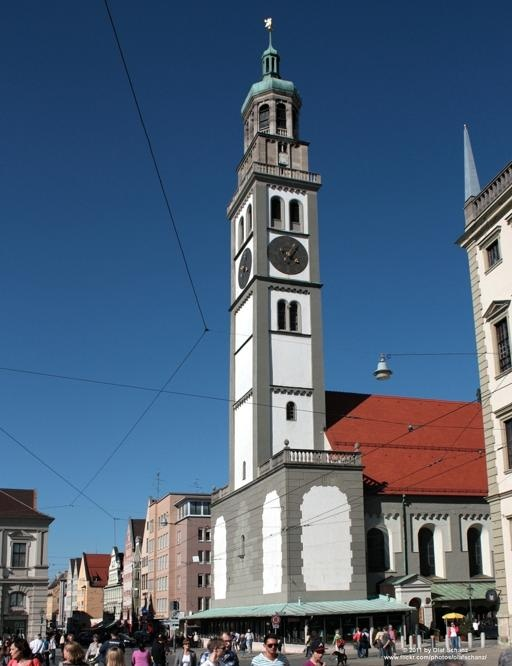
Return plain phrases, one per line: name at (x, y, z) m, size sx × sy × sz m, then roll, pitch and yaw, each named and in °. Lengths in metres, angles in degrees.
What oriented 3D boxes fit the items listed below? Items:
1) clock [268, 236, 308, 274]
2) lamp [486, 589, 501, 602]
clock at (1.720, -4.417, 55.924) m, size 2.389 × 2.236 × 0.375 m, roll 3°, pitch -24°, yaw -27°
lamp at (7.828, 8.624, 31.873) m, size 0.401 × 0.426 × 1.410 m, roll -7°, pitch -20°, yaw 13°
